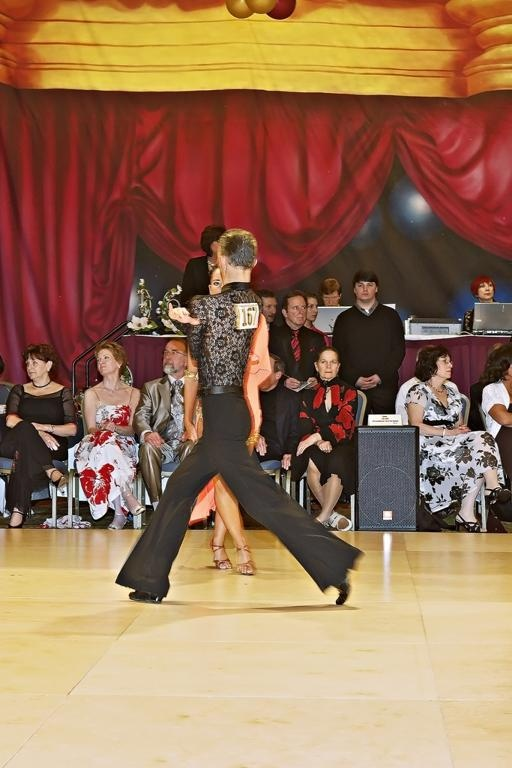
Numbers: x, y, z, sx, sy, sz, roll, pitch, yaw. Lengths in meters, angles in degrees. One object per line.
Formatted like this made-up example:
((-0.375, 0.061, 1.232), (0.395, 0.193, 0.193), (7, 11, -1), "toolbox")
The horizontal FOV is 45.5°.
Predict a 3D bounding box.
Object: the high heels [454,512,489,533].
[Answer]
((1.789, 1.166, 5.161), (0.318, 0.142, 0.128), (-1, -4, 32), "high heels")

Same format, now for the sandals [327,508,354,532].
((0.694, 1.122, 4.974), (0.088, 0.100, 0.235), (-15, 7, -40), "sandals")

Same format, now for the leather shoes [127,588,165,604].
((-0.470, 0.904, 2.592), (0.152, 0.040, 0.128), (-1, -1, -5), "leather shoes")

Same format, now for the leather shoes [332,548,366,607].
((0.358, 0.811, 2.499), (0.086, 0.234, 0.065), (-1, 31, -36), "leather shoes")

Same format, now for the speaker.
((1.068, 0.741, 5.032), (0.602, 0.844, 0.572), (-1, 3, -7), "speaker")

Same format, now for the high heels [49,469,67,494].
((-1.685, 0.795, 5.230), (0.101, 0.274, 0.109), (-21, -31, -22), "high heels")

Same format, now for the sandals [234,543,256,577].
((-0.051, 0.947, 3.213), (0.069, 0.079, 0.199), (-1, -4, -8), "sandals")
